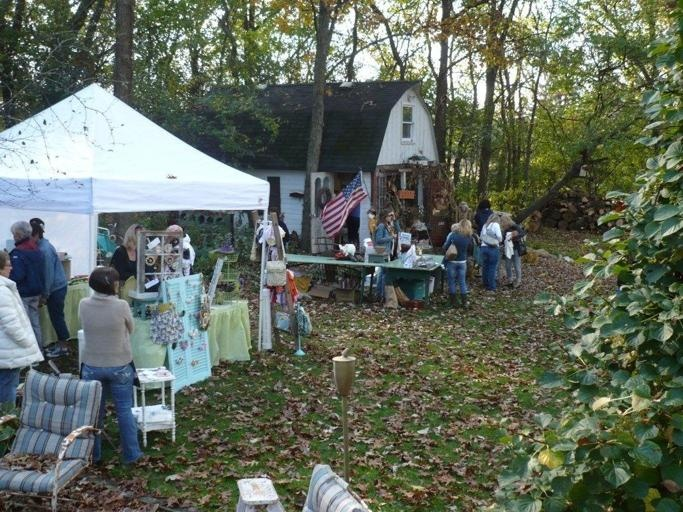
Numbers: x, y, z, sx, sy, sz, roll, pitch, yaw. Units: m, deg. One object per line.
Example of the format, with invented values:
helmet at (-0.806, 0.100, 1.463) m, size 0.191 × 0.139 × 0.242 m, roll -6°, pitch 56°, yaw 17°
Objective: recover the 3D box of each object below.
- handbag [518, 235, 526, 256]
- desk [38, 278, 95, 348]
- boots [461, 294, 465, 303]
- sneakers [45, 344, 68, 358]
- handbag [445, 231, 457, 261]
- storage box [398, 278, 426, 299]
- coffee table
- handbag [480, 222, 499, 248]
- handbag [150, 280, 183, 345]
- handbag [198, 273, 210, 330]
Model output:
handbag at (4.677, -0.272, 16.639) m, size 0.252 × 0.702 × 0.522 m, roll -1°, pitch 3°, yaw 16°
desk at (-4.776, 0.953, 11.124) m, size 0.930 × 0.755 × 0.974 m, roll 0°, pitch 0°, yaw 22°
boots at (2.838, 1.004, 14.934) m, size 0.083 × 0.180 × 0.177 m, roll -1°, pitch 0°, yaw -9°
sneakers at (-4.778, 1.582, 10.652) m, size 0.349 × 0.167 × 0.213 m, roll 4°, pitch 10°, yaw -1°
handbag at (2.528, -0.203, 14.781) m, size 0.255 × 0.751 × 0.748 m, roll 1°, pitch -1°, yaw 0°
storage box at (1.657, 0.724, 14.905) m, size 0.478 × 0.331 × 0.493 m, roll 2°, pitch 4°, yaw 37°
coffee table at (-2.458, 1.905, 8.432) m, size 0.662 × 0.936 × 0.956 m, roll -1°, pitch 7°, yaw -16°
handbag at (3.641, -0.503, 15.685) m, size 0.354 × 0.635 × 0.596 m, roll 1°, pitch -1°, yaw -37°
handbag at (-2.502, 0.838, 9.140) m, size 0.245 × 0.939 × 0.462 m, roll 8°, pitch 13°, yaw 32°
handbag at (-2.117, 0.711, 9.909) m, size 0.163 × 0.937 × 0.590 m, roll -1°, pitch 11°, yaw -10°
